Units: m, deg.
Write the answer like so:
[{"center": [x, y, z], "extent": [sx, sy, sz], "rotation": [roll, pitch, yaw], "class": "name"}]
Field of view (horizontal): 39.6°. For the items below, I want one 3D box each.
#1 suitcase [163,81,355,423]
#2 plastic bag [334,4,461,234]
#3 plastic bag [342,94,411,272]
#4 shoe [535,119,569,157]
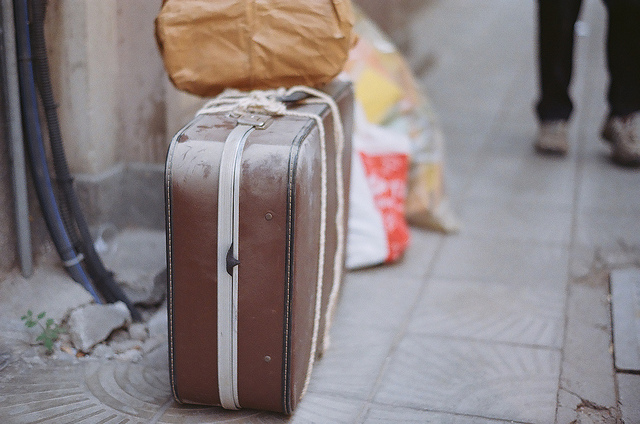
[{"center": [-0.246, 0.121, 3.536], "extent": [0.524, 1.187, 0.786], "rotation": [7, 20, 19], "class": "suitcase"}, {"center": [0.427, -0.443, 4.565], "extent": [0.296, 1.077, 0.852], "rotation": [-10, -19, 29], "class": "plastic bag"}, {"center": [0.342, 0.068, 4.522], "extent": [0.365, 0.596, 0.784], "rotation": [1, 59, 6], "class": "plastic bag"}, {"center": [1.069, -0.335, 4.074], "extent": [0.045, 0.150, 0.135], "rotation": [2, -1, -38], "class": "shoe"}]
